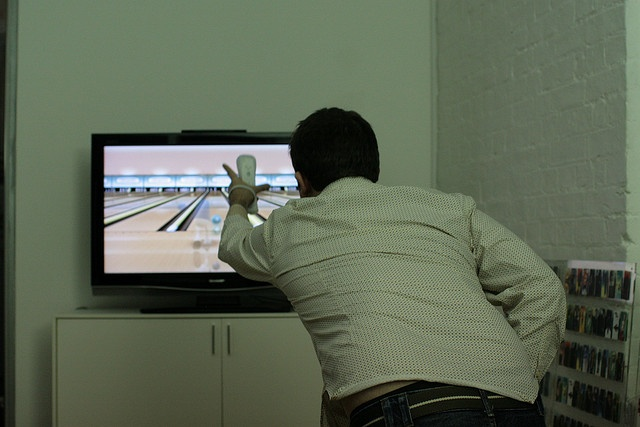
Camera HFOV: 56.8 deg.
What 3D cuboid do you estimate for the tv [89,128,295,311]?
[{"bbox_3d":[-0.820,0.000,3.742,1.131,1.005,0.241,-1,-4,-2],"label":"tv"}]
